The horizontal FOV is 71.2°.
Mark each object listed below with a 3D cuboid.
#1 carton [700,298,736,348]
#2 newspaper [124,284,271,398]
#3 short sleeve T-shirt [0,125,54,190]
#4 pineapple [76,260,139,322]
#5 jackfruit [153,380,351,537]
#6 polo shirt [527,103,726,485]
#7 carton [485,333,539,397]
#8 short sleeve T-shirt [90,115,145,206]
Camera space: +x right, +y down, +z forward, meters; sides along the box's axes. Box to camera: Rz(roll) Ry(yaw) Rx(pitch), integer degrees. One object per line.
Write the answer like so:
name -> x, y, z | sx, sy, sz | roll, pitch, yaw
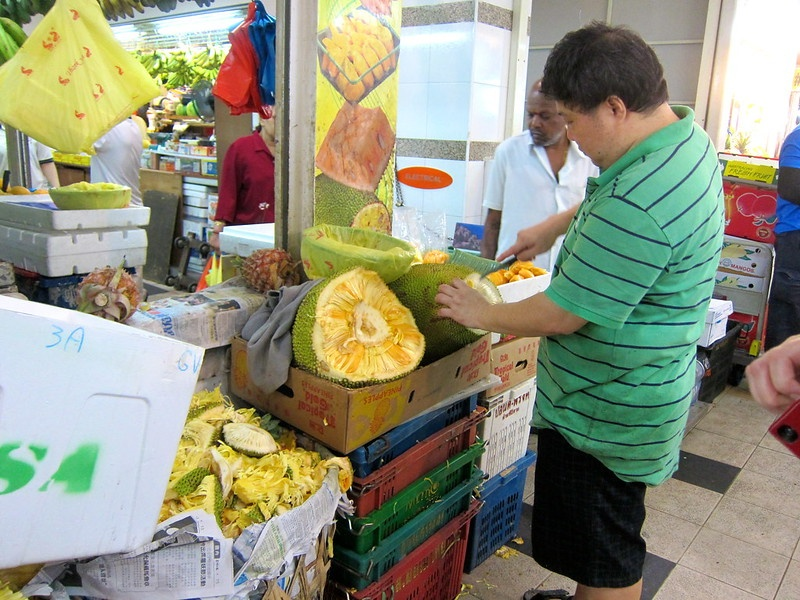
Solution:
carton -> 2.078, 0.162, 3.661 | 0.300, 0.210, 0.185 | -21, 34, -39
newspaper -> -0.676, 0.099, 1.960 | 0.398, 0.287, 0.421 | -2, 4, 18
short sleeve T-shirt -> -3.128, -1.191, 4.686 | 0.406, 0.492, 0.847 | -6, 16, -32
pineapple -> -0.927, -0.026, 1.787 | 0.174, 0.179, 0.169 | -9, 18, -42
jackfruit -> -0.421, 0.376, 1.584 | 0.373, 0.131, 0.379 | 33, 20, 25
polo shirt -> 0.723, 0.014, 1.754 | 0.560, 1.235, 0.388 | 4, 13, 7
carton -> 0.488, 0.271, 2.559 | 0.313, 0.160, 0.229 | -13, 17, -41
short sleeve T-shirt -> -2.441, -1.212, 4.853 | 0.423, 0.746, 0.513 | -4, 15, -27
